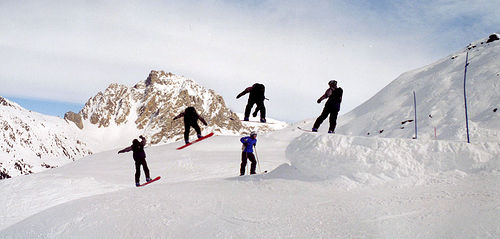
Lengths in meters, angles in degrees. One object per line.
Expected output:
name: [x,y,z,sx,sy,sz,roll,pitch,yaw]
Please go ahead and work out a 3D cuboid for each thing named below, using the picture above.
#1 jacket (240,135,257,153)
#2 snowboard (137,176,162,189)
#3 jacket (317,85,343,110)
jacket: [-0.282,2.800,44.520,1.630,1.796,0.700,6,1,-20]
snowboard: [-11.857,7.454,46.443,2.383,0.604,0.308,-22,-6,4]
jacket: [8.657,-2.321,40.690,2.772,4.154,2.699,0,0,0]
